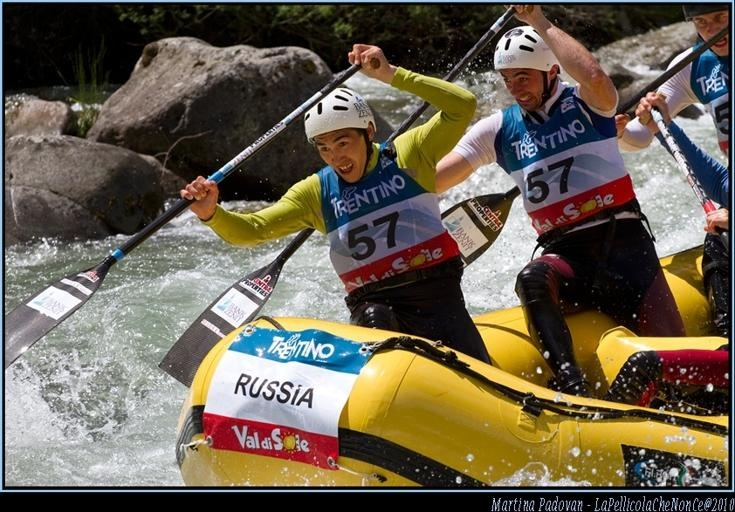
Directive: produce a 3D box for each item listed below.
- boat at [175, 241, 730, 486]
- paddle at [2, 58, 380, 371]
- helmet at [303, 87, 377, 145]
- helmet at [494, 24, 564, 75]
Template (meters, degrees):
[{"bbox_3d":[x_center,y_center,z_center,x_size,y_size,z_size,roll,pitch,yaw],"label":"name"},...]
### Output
[{"bbox_3d":[0.468,0.703,4.709,2.539,0.790,1.313,4,5,-14],"label":"boat"},{"bbox_3d":[-1.628,-0.371,7.052,4.250,0.121,0.622,-39,57,-10],"label":"paddle"},{"bbox_3d":[-0.166,-0.857,5.021,0.374,0.268,0.268,-29,22,-28],"label":"helmet"},{"bbox_3d":[0.986,-1.231,5.316,0.260,0.365,0.283,-4,7,-43],"label":"helmet"}]
